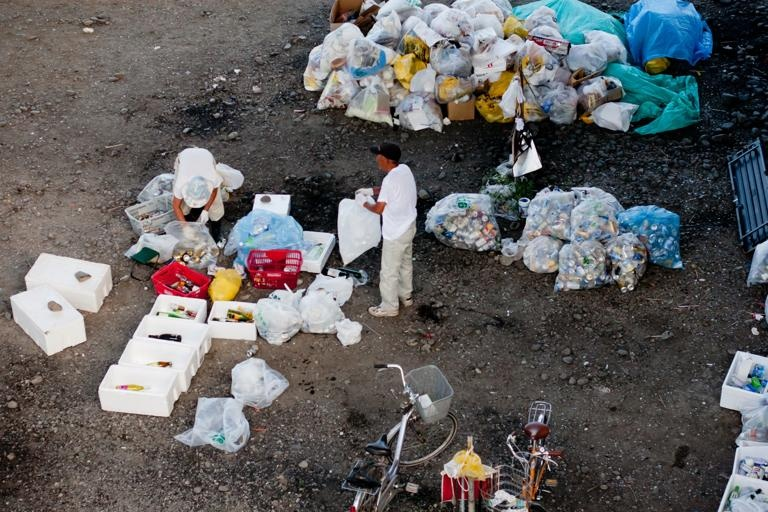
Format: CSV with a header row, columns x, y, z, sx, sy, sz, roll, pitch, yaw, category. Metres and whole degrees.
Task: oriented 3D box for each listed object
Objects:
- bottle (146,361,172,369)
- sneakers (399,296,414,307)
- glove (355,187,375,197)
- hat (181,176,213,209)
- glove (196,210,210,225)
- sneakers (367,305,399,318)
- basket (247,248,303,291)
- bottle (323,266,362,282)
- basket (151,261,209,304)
x,y,z,sx,sy,sz,roll,pitch,yaw,category
-2.517,1.209,6.780,0.142,0.105,0.045,0,95,9,bottle
0.269,0.560,7.394,0.090,0.144,0.147,-43,59,-9,sneakers
-0.261,-0.748,7.271,0.193,0.140,0.065,6,108,31,glove
-2.444,-0.809,7.839,0.324,0.211,0.395,3,90,-15,hat
-2.370,-0.499,7.936,0.123,0.068,0.216,37,92,10,glove
-0.017,0.681,7.320,0.371,0.138,0.138,4,47,3,sneakers
-1.373,0.153,7.559,0.700,0.307,0.419,0,63,-1,basket
-0.510,0.210,7.731,0.594,0.207,0.161,5,99,0,bottle
-2.519,0.330,7.465,0.674,0.268,0.436,21,46,17,basket
